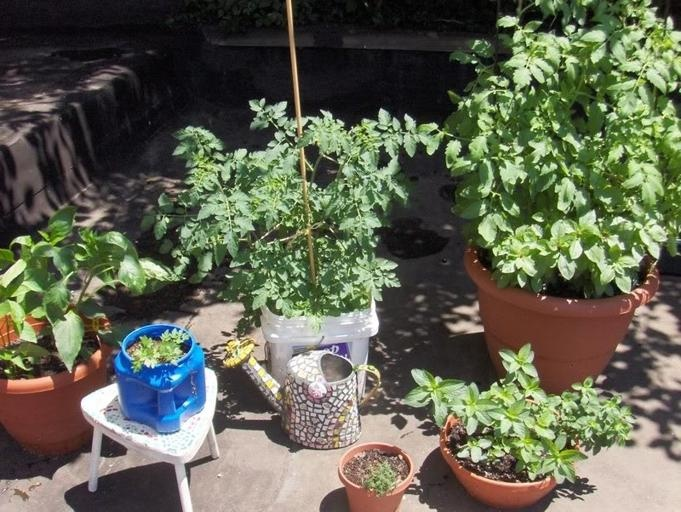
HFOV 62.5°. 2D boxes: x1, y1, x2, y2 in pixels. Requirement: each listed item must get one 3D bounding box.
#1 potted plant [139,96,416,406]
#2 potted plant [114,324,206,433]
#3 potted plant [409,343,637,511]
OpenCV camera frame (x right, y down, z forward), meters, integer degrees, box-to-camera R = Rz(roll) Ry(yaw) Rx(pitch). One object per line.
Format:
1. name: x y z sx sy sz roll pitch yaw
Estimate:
1. potted plant: -0.385 -0.159 3.963 1.825 2.140 1.228 1 1 -3
2. potted plant: -0.990 0.613 3.004 0.459 0.473 0.398 15 34 26
3. potted plant: 0.977 0.961 3.110 1.148 0.803 0.609 9 32 18
